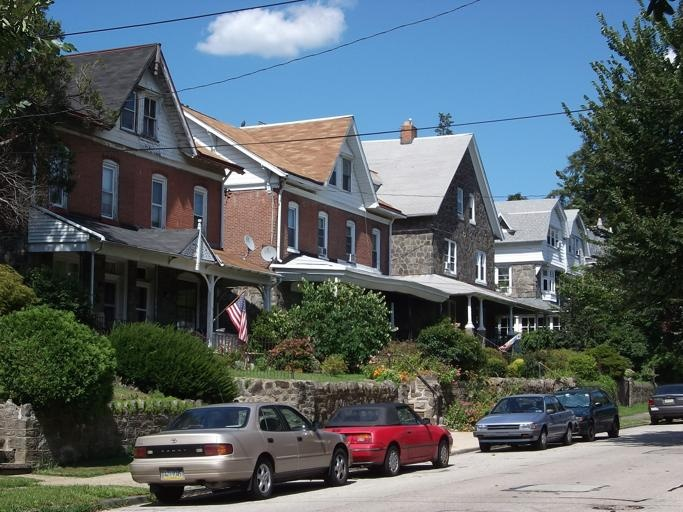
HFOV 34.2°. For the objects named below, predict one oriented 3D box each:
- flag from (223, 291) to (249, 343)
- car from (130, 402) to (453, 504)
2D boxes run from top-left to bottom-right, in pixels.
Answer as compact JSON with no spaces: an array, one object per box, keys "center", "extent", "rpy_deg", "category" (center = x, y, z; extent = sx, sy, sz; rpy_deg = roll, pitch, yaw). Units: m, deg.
[{"center":[-3.640,2.142,38.849],"extent":[0.653,1.755,1.858],"rpy_deg":[1,-10,-6],"category":"flag"},{"center":[-2.203,4.521,25.798],"extent":[4.885,2.166,1.733],"rpy_deg":[8,-12,-37],"category":"car"}]
